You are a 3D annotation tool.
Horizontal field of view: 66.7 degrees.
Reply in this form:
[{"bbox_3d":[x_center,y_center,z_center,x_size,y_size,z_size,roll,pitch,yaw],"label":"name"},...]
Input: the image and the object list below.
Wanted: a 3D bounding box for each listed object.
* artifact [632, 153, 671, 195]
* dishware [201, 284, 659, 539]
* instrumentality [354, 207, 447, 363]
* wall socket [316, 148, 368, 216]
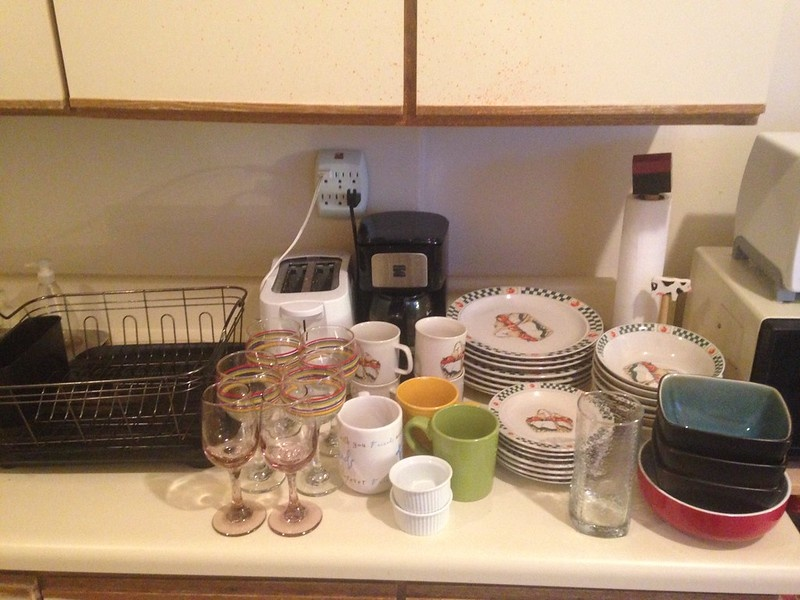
[{"bbox_3d":[0.523,-0.261,1.260,0.081,0.080,0.044,-3,6,9],"label":"artifact"},{"bbox_3d":[0.089,0.176,1.030,0.563,0.135,0.322,3,21,7],"label":"dishware"},{"bbox_3d":[0.011,-0.039,1.405,0.220,0.325,0.297,-4,33,-7],"label":"instrumentality"},{"bbox_3d":[-0.134,-0.269,1.420,0.122,0.154,0.051,-2,26,-7],"label":"wall socket"}]
